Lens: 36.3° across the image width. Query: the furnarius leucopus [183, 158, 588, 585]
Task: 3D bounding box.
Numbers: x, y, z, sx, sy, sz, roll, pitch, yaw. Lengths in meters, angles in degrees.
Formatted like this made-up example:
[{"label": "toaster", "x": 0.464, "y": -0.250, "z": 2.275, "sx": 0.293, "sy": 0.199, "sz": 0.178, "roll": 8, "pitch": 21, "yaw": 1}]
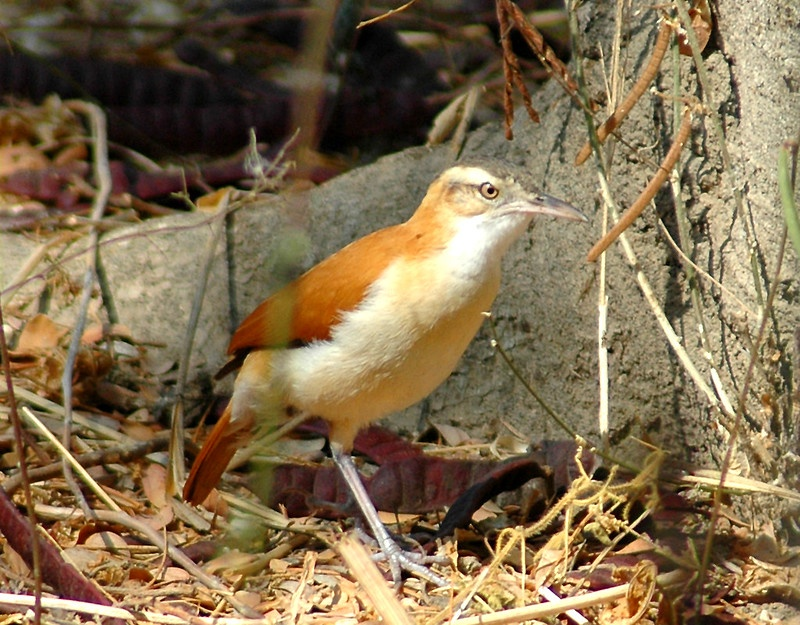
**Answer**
[{"label": "furnarius leucopus", "x": 0.001, "y": 0.222, "z": 4.194, "sx": 1.205, "sy": 1.222, "sz": 0.456, "roll": 10, "pitch": -9, "yaw": 22}]
